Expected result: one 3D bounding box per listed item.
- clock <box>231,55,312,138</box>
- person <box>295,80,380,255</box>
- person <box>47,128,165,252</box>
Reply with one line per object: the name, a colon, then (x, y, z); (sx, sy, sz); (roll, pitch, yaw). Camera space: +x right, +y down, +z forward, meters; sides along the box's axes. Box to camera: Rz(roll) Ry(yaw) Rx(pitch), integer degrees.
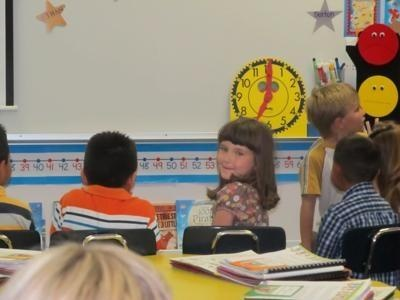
clock: (0.463, -0.352, 3.931); (0.557, 0.642, 0.070); (0, -3, -2)
person: (0.818, 0.287, 3.655); (0.378, 1.567, 0.537); (26, 47, 36)
person: (-0.454, 0.227, 3.042); (0.741, 0.733, 0.517); (1, -15, -1)
